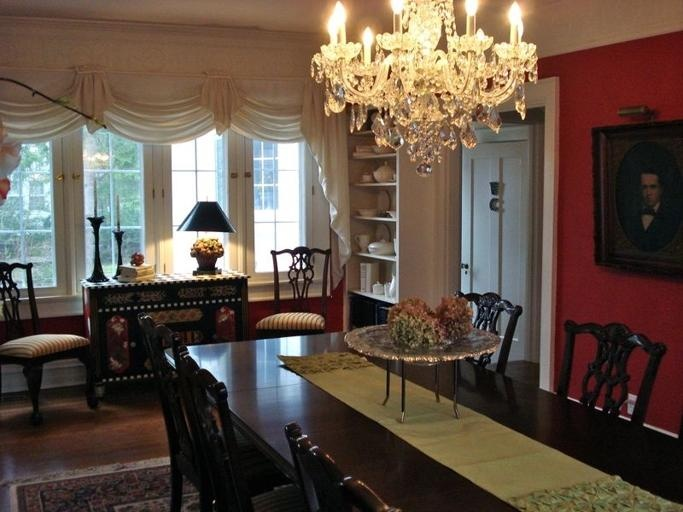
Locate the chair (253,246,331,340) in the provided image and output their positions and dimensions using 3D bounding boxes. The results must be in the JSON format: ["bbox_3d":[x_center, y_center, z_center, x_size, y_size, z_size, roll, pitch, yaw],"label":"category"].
[{"bbox_3d":[-0.438,0.548,5.389,0.709,1.289,0.698,0,1,-8],"label":"chair"}]

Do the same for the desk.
[{"bbox_3d":[-1.575,0.659,5.214,1.357,1.069,0.581,-4,16,-24],"label":"desk"}]

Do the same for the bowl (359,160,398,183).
[{"bbox_3d":[0.393,-0.842,5.743,0.216,0.193,0.333,-4,5,-44],"label":"bowl"}]

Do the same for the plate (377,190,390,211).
[{"bbox_3d":[0.443,-0.583,5.896,0.027,0.225,0.178,-3,9,-40],"label":"plate"}]

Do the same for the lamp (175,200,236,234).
[{"bbox_3d":[-1.202,-0.325,5.033,0.324,0.249,0.337,3,4,27],"label":"lamp"}]
